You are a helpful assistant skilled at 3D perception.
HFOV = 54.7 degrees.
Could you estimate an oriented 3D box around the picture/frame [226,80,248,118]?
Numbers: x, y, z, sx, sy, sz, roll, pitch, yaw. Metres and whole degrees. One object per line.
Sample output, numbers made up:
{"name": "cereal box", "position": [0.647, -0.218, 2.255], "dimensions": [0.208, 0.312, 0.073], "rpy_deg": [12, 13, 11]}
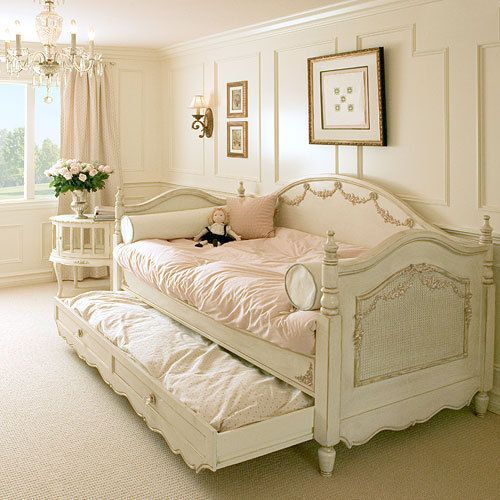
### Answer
{"name": "picture/frame", "position": [-0.112, -1.364, 4.345], "dimensions": [0.035, 0.465, 0.389], "rpy_deg": [-1, 1, -32]}

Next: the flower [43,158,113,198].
{"name": "flower", "position": [-1.473, -0.674, 4.312], "dimensions": [0.334, 0.193, 0.422], "rpy_deg": [-4, -14, -10]}

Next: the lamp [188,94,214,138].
{"name": "lamp", "position": [-0.524, -1.327, 4.832], "dimensions": [0.226, 0.415, 0.450], "rpy_deg": [-2, 8, -21]}

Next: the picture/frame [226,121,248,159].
{"name": "picture/frame", "position": [-0.115, -1.015, 4.405], "dimensions": [0.030, 0.415, 0.351], "rpy_deg": [-4, 7, -34]}

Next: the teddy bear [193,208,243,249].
{"name": "teddy bear", "position": [-0.279, -0.180, 3.828], "dimensions": [0.377, 0.316, 0.335], "rpy_deg": [-4, 5, -23]}

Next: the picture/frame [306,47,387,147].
{"name": "picture/frame", "position": [0.657, -1.029, 3.212], "dimensions": [0.051, 0.700, 0.740], "rpy_deg": [-6, 9, -33]}
